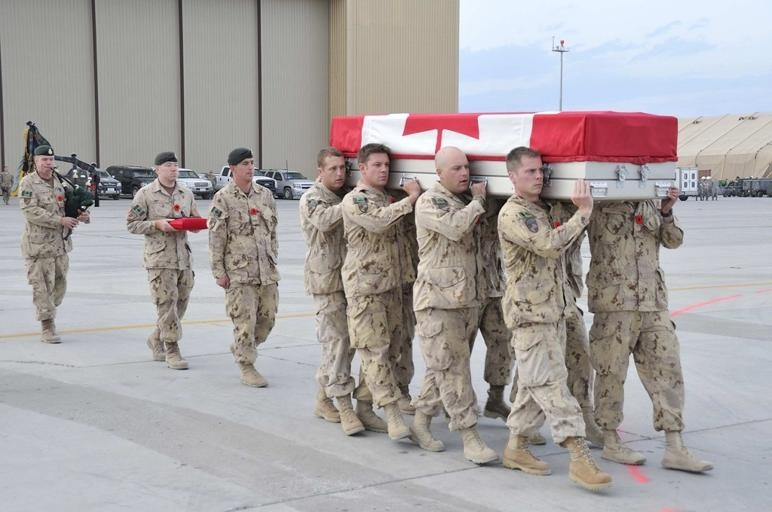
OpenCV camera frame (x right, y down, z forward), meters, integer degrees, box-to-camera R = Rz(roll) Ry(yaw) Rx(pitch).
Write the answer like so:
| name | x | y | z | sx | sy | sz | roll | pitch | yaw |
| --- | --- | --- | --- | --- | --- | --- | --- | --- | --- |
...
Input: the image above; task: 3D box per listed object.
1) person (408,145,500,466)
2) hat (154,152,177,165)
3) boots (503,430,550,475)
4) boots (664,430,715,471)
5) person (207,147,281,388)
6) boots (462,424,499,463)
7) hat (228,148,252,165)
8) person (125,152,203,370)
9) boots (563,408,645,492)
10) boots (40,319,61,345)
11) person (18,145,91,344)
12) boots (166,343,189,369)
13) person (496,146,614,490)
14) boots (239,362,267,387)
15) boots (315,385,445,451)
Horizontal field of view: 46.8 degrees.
| name | x | y | z | sx | sy | sz | roll | pitch | yaw |
| --- | --- | --- | --- | --- | --- | --- | --- | --- | --- |
| person | 0.582 | 0.409 | 7.678 | 0.735 | 2.669 | 0.524 | 3 | 10 | 23 |
| hat | -2.588 | -1.144 | 10.447 | 0.246 | 0.108 | 0.161 | -5 | 10 | -8 |
| boots | 1.224 | 1.675 | 7.474 | 0.556 | 0.331 | 0.180 | 4 | 3 | 18 |
| boots | 2.487 | 1.638 | 7.454 | 0.472 | 0.296 | 0.152 | 10 | -9 | -4 |
| person | -1.523 | 0.009 | 9.707 | 0.773 | 2.316 | 0.575 | -5 | 10 | -24 |
| boots | 0.792 | 1.620 | 7.618 | 0.155 | 0.270 | 0.426 | -2 | -4 | -30 |
| hat | -1.621 | -1.070 | 9.661 | 0.244 | 0.121 | 0.185 | -16 | 15 | 4 |
| person | -2.590 | 0.021 | 10.418 | 0.780 | 2.420 | 1.065 | -2 | 9 | -11 |
| boots | 1.635 | 1.637 | 7.258 | 0.369 | 0.415 | 0.611 | 1 | 8 | 11 |
| boots | -4.195 | 0.946 | 11.112 | 0.221 | 0.279 | 0.277 | -4 | 9 | -20 |
| person | -4.288 | -0.193 | 11.481 | 0.767 | 2.430 | 1.353 | -4 | 9 | -22 |
| boots | -2.408 | 1.141 | 10.210 | 0.252 | 0.265 | 0.352 | -2 | 8 | -13 |
| person | 1.349 | 0.486 | 7.209 | 0.456 | 2.707 | 0.910 | -7 | 11 | -35 |
| boots | -1.434 | 1.285 | 9.579 | 0.342 | 0.222 | 0.170 | 5 | 10 | 35 |
| boots | -0.214 | 1.518 | 8.347 | 1.406 | 0.515 | 0.421 | 3 | 6 | 16 |
